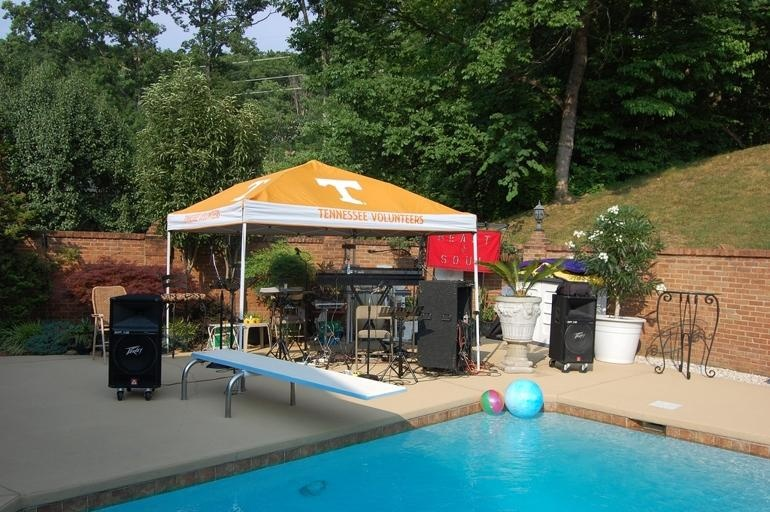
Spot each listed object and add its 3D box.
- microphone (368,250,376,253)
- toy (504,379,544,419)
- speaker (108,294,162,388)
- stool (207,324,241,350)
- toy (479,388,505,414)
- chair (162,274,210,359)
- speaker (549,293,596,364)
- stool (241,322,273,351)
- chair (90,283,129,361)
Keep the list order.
[{"bbox_3d":[-0.398,-0.133,21.519,0.226,0.140,0.104,-1,-1,15],"label":"microphone"},{"bbox_3d":[2.882,3.004,14.787,0.743,0.922,0.775,-5,-1,5],"label":"toy"},{"bbox_3d":[-5.057,1.788,14.436,1.025,1.964,0.335,0,-1,-13],"label":"speaker"},{"bbox_3d":[-3.887,2.000,17.215,0.601,0.772,0.778,-5,-7,41],"label":"stool"},{"bbox_3d":[2.224,3.076,14.822,0.438,0.554,0.469,-3,-3,-6],"label":"toy"},{"bbox_3d":[-5.177,1.735,18.758,0.971,2.332,1.020,-2,12,-19],"label":"chair"},{"bbox_3d":[4.491,1.828,17.240,0.919,1.763,0.825,1,10,3],"label":"speaker"},{"bbox_3d":[-3.317,2.133,18.544,0.684,0.619,0.690,1,-7,-23],"label":"stool"},{"bbox_3d":[-6.488,1.604,17.053,0.939,1.552,1.065,-2,7,-42],"label":"chair"}]
